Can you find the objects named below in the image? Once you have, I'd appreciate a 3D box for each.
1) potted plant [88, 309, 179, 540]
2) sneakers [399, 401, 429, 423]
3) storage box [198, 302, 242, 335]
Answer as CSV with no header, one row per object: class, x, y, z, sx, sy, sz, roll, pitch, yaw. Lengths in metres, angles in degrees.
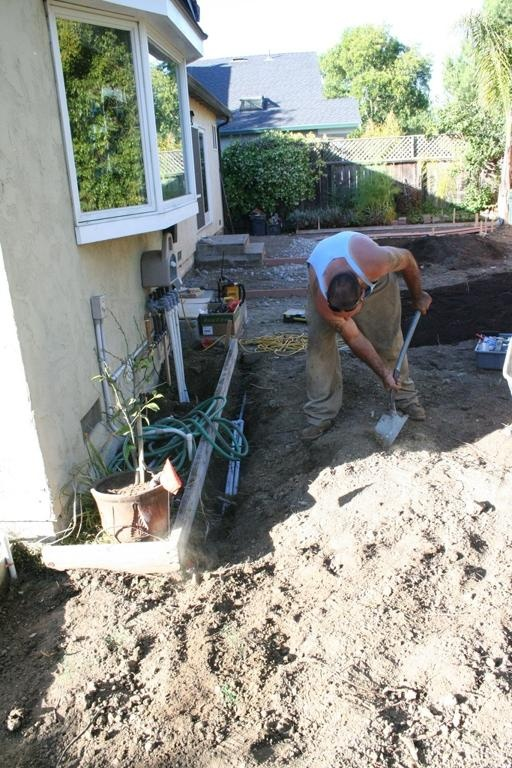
potted plant,-0.594,0.255,2.572,0.370,0.902,0.309,-4,10,-10
sneakers,1.108,0.195,3.708,0.082,0.096,0.217,-7,8,-13
storage box,-0.423,-0.681,5.888,0.474,0.340,0.605,-4,20,-1
